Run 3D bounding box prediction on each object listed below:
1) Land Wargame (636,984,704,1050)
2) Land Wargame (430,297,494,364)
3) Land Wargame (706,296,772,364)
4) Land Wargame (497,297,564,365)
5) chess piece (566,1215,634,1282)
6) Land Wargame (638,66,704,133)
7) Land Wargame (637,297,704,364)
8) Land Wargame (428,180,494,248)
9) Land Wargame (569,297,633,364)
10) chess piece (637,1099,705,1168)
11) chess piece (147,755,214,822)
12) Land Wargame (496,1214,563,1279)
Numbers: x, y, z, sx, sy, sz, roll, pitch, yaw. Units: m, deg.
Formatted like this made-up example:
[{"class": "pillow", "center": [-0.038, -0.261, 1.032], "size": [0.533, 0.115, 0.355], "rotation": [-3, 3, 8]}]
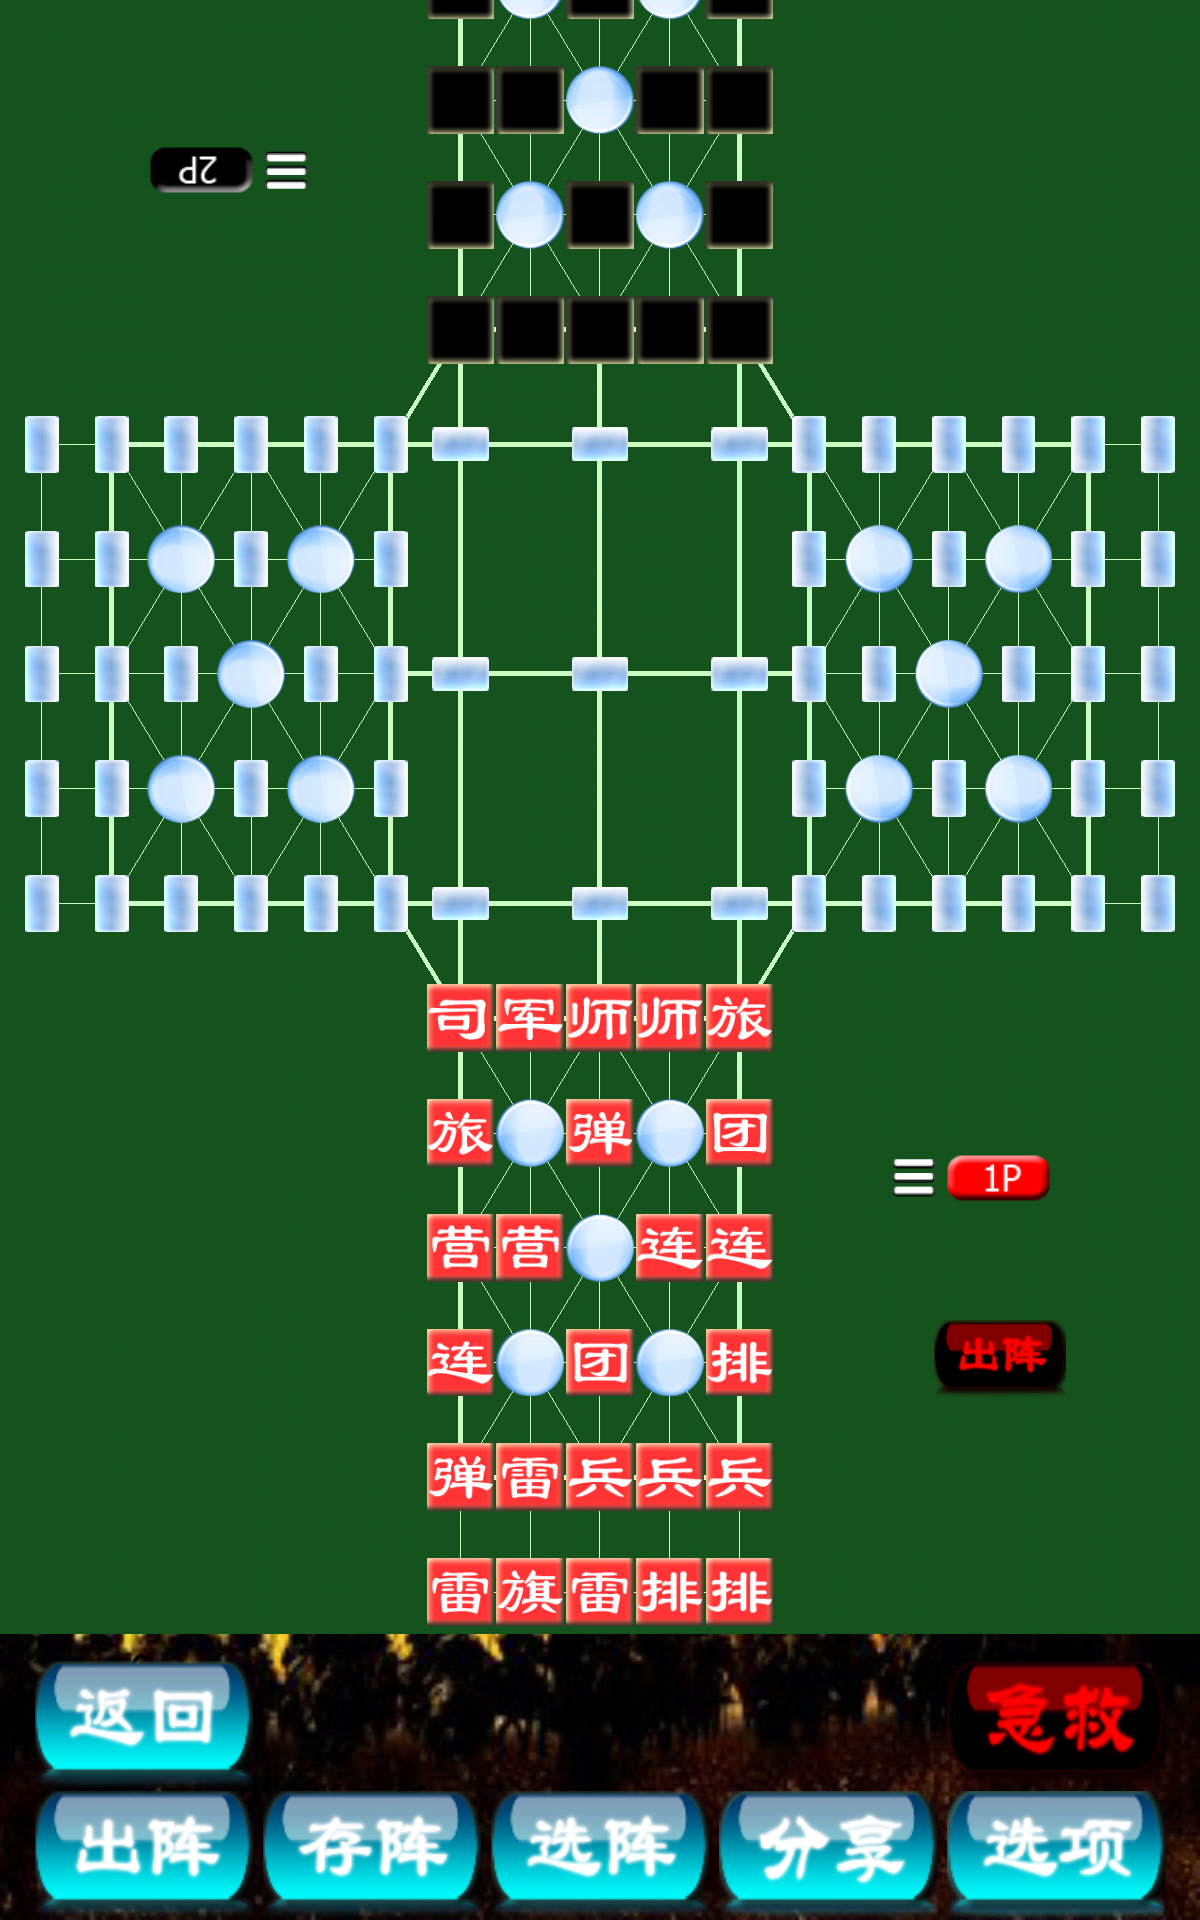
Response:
[{"class": "Land Wargame", "center": [0.367, 0.309, 14.978], "size": [0.357, 0.186, 0.296], "rotation": [0, 65, -5]}, {"class": "Land Wargame", "center": [-0.758, -3.362, 15.067], "size": [0.351, 0.082, 0.355], "rotation": [1, 90, -4]}, {"class": "Land Wargame", "center": [0.751, -3.357, 15.051], "size": [0.361, 0.086, 0.351], "rotation": [2, 88, 5]}, {"class": "Land Wargame", "center": [-0.389, -3.361, 15.098], "size": [0.365, 0.088, 0.350], "rotation": [1, 89, -6]}, {"class": "chess piece", "center": [-0.001, 1.538, 14.996], "size": [0.368, 0.170, 0.316], "rotation": [9, 65, -1]}, {"class": "Land Wargame", "center": [0.392, -4.643, 15.179], "size": [0.348, 0.087, 0.345], "rotation": [3, 94, 8]}, {"class": "Land Wargame", "center": [0.381, -3.358, 15.084], "size": [0.347, 0.083, 0.332], "rotation": [2, 88, 3]}, {"class": "Land Wargame", "center": [-0.766, -3.999, 15.101], "size": [0.368, 0.085, 0.358], "rotation": [1, 92, -8]}, {"class": "Land Wargame", "center": [0.006, -3.360, 15.093], "size": [0.349, 0.084, 0.336], "rotation": [1, 89, -2]}, {"class": "chess piece", "center": [0.373, 0.918, 15.002], "size": [0.348, 0.160, 0.312], "rotation": [0, 65, -5]}, {"class": "chess piece", "center": [-2.250, -0.917, 15.108], "size": [0.319, 0.148, 0.334], "rotation": [3, 91, -10]}, {"class": "Land Wargame", "center": [-0.377, 1.531, 14.998], "size": [0.355, 0.131, 0.302], "rotation": [-1, 65, -5]}]
